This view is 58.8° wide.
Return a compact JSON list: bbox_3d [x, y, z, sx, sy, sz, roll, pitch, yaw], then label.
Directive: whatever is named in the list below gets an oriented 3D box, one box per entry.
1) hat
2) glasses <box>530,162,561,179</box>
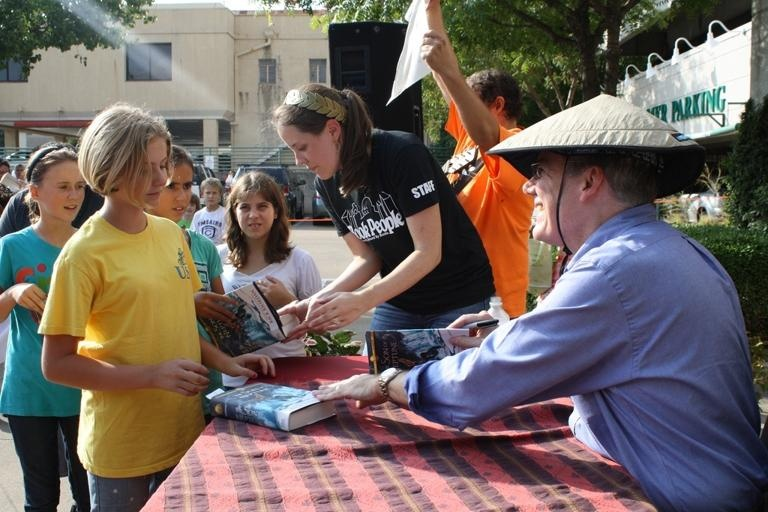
[{"bbox_3d":[0.904,-0.461,2.728,0.572,0.221,0.436,4,-9,2],"label":"hat"},{"bbox_3d":[0.661,-0.344,2.796,0.073,0.034,0.069,-4,-1,-33],"label":"glasses"}]
